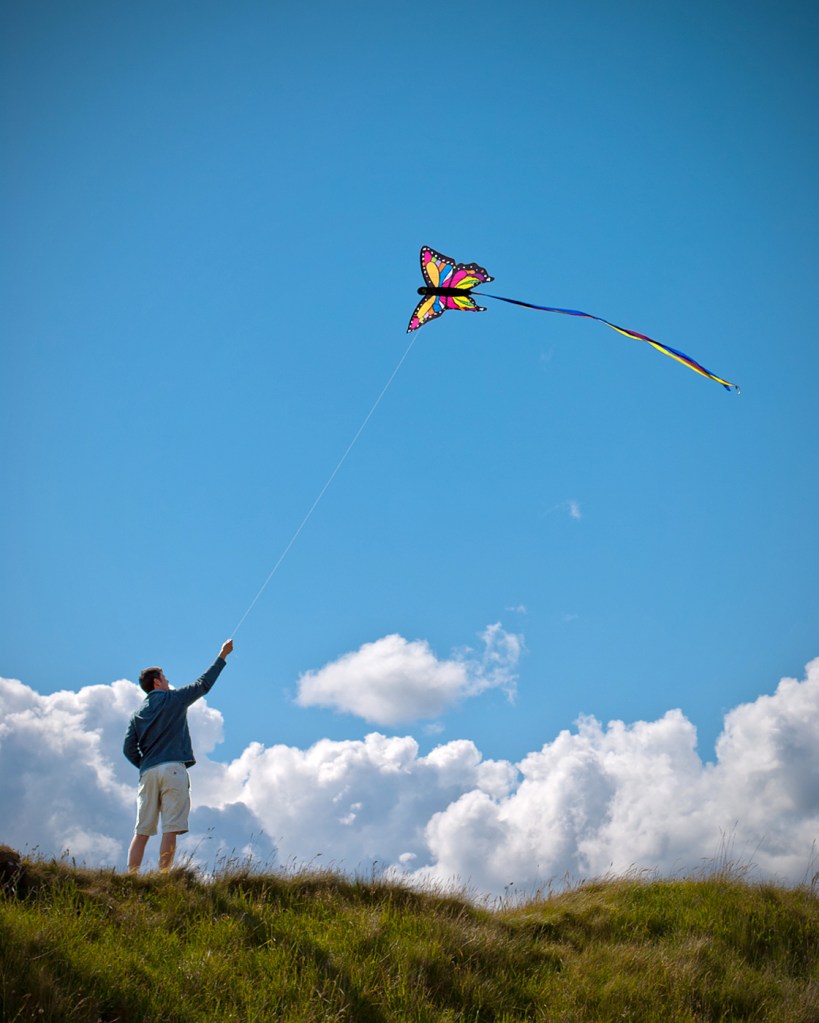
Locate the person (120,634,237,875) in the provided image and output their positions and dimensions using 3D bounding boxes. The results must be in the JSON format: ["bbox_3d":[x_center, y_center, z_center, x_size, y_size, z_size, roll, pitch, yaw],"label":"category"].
[{"bbox_3d":[-2.144,2.089,10.959,0.732,2.189,0.424,-3,-30,16],"label":"person"}]
